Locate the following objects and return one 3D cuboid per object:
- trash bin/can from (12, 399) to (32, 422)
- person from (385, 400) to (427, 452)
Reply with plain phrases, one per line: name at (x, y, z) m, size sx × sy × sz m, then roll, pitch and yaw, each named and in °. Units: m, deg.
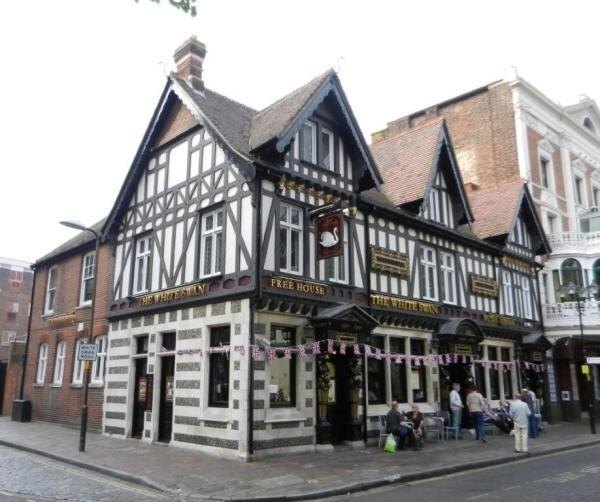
trash bin/can at (-12.861, 7.439, 25.156) m, size 0.876 × 1.055 × 0.726 m, roll -3°, pitch -8°, yaw 32°
person at (3.289, 5.616, 17.468) m, size 0.949 × 1.454 × 1.385 m, roll -19°, pitch -26°, yaw 42°
